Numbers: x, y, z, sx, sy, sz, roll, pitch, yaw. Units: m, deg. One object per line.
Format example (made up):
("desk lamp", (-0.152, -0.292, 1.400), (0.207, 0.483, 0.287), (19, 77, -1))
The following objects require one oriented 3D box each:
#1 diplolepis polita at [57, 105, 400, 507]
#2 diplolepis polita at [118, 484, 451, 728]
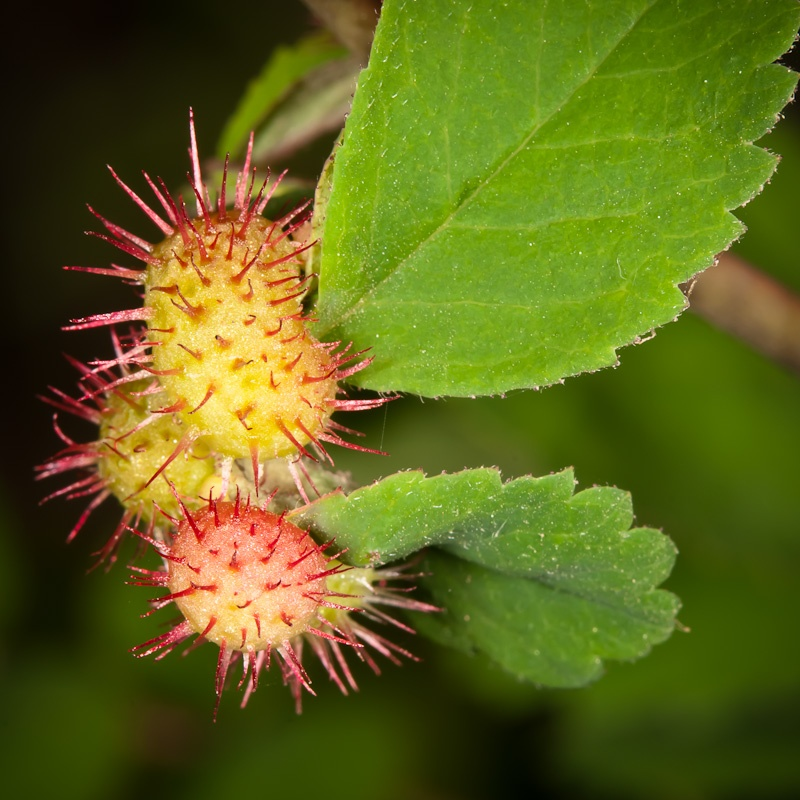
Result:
("diplolepis polita", (-0.191, -0.114, 1.298), (0.464, 0.422, 0.434), (-3, -85, -24))
("diplolepis polita", (-0.157, 0.262, 1.247), (0.347, 0.276, 0.452), (-18, -42, 3))
